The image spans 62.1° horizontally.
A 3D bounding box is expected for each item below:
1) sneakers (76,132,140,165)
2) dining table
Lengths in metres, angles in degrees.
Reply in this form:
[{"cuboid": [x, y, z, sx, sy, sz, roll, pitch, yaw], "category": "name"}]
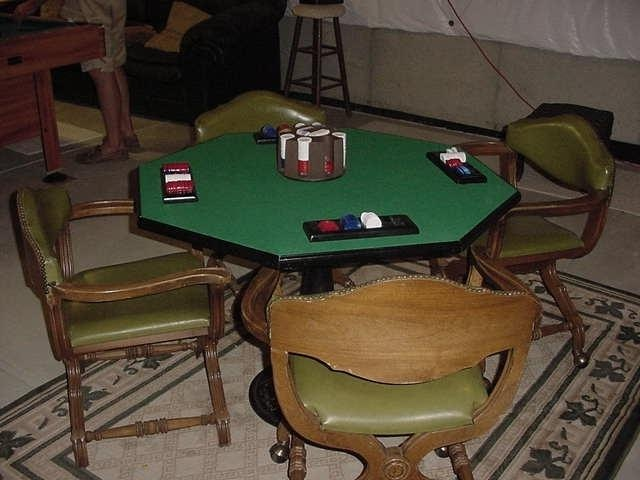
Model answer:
[{"cuboid": [-1.760, -0.745, 4.458, 0.576, 0.220, 0.212, -11, 52, -13], "category": "sneakers"}, {"cuboid": [0.013, 0.245, 2.338, 1.412, 0.830, 1.296, -4, 36, -7], "category": "dining table"}]
